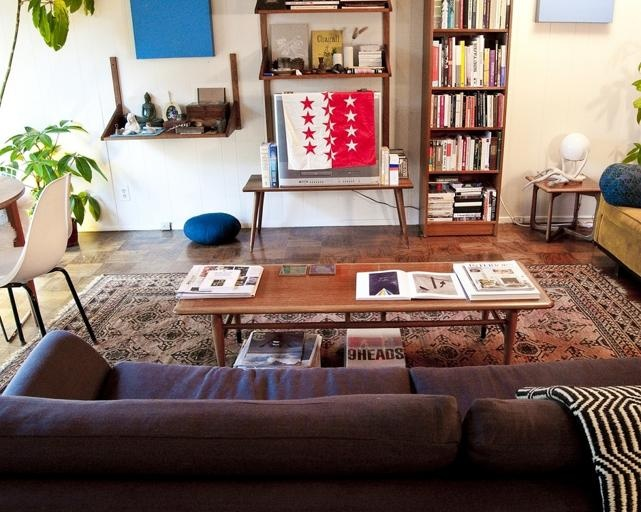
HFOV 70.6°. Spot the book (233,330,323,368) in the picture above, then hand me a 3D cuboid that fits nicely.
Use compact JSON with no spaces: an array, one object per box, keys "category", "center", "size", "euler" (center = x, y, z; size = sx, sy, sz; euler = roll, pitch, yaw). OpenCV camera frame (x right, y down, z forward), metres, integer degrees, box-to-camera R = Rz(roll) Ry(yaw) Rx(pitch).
[{"category":"book","center":[-0.197,0.439,2.114],"size":[0.269,0.044,0.224],"euler":[0,15,1]}]

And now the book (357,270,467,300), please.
[{"category":"book","center":[0.417,0.136,2.144],"size":[0.493,0.084,0.275],"euler":[1,12,3]}]

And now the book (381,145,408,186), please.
[{"category":"book","center":[0.644,-0.770,3.917],"size":[0.210,0.307,0.323],"euler":[6,14,21]}]

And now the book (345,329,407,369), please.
[{"category":"book","center":[0.248,0.442,2.166],"size":[0.251,0.043,0.227],"euler":[0,15,1]}]

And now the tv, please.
[{"category":"tv","center":[0.060,-0.973,3.730],"size":[1.056,0.678,0.343],"euler":[-2,24,0]}]

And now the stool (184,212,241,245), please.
[{"category":"stool","center":[-0.951,-0.246,4.061],"size":[0.422,0.129,0.344],"euler":[1,20,1]}]

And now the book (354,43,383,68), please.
[{"category":"book","center":[0.414,-1.656,3.821],"size":[0.304,0.132,0.246],"euler":[-1,23,2]}]

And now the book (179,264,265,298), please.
[{"category":"book","center":[-0.480,0.128,2.179],"size":[0.268,0.022,0.242],"euler":[0,20,0]}]

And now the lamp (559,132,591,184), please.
[{"category":"lamp","center":[2.175,-0.845,3.889],"size":[0.216,0.401,0.459],"euler":[8,15,27]}]
